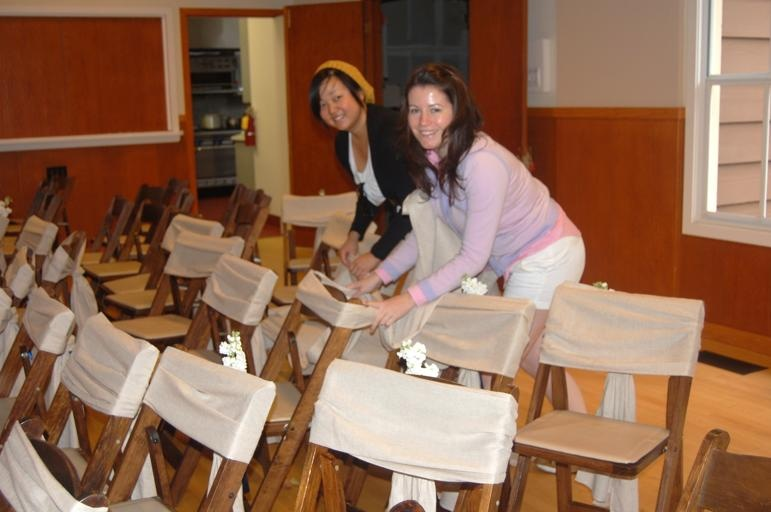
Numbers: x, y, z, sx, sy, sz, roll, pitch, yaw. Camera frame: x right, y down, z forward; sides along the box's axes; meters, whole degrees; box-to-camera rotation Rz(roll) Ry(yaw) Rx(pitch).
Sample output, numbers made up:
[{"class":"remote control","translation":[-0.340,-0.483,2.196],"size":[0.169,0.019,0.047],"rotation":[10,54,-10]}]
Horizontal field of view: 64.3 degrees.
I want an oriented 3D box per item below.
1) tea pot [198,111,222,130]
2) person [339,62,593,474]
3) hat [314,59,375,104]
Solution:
[{"class":"tea pot","translation":[-3.112,-2.414,10.975],"size":[0.365,0.282,0.194],"rotation":[4,10,17]},{"class":"person","translation":[0.460,0.130,2.946],"size":[0.982,1.878,0.621],"rotation":[-7,10,9]},{"class":"hat","translation":[-0.201,-0.964,3.252],"size":[0.245,0.108,0.215],"rotation":[19,28,15]}]
